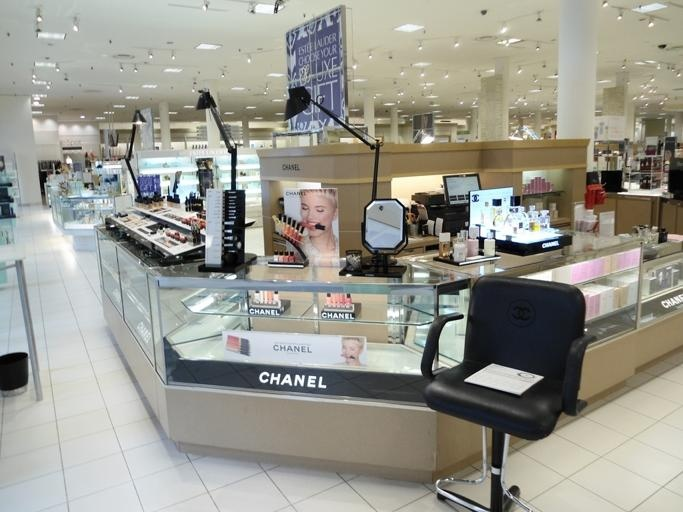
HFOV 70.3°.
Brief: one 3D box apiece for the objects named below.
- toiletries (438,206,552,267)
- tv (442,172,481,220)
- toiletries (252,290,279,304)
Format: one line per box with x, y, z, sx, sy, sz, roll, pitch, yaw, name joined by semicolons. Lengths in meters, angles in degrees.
1.416;-0.179;3.853;0.759;0.271;0.518;-12;19;-37;toiletries
1.401;-0.711;5.751;0.786;0.584;0.133;2;-9;-23;tv
-0.526;0.289;3.417;0.170;0.095;0.167;1;-8;2;toiletries
